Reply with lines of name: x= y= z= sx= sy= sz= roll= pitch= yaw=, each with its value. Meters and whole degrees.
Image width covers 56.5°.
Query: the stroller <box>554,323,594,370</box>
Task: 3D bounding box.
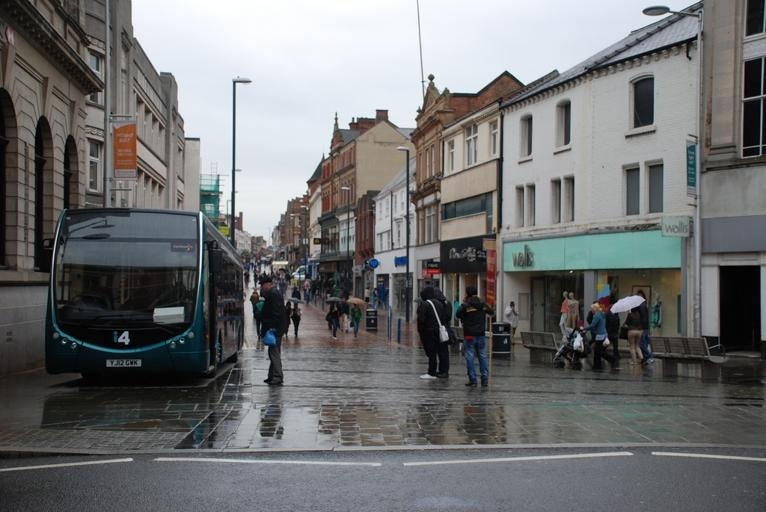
stroller: x=5.740 y=2.744 z=22.099 sx=1.034 sy=1.186 sz=0.937 roll=6 pitch=8 yaw=4

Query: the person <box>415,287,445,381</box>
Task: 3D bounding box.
person: x=1.225 y=1.974 z=18.293 sx=0.685 sy=2.354 sz=0.888 roll=1 pitch=-4 yaw=3

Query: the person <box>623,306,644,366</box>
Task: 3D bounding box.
person: x=7.804 y=2.472 z=22.041 sx=0.474 sy=1.735 sz=0.651 roll=0 pitch=-4 yaw=10

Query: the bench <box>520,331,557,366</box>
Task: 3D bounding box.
bench: x=5.253 y=3.087 z=23.823 sx=1.005 sy=1.015 sz=2.068 roll=1 pitch=-5 yaw=3

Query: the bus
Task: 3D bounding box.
bus: x=-5.688 y=0.967 z=17.378 sx=3.726 sy=4.015 sz=3.620 roll=2 pitch=-5 yaw=-3

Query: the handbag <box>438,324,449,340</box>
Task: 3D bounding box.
handbag: x=1.524 y=1.943 z=17.955 sx=0.177 sy=0.444 sz=0.397 roll=-7 pitch=-3 yaw=27

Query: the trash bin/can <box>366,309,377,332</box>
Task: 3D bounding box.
trash bin/can: x=-0.613 y=3.618 z=39.664 sx=0.594 sy=1.210 sz=0.492 roll=3 pitch=-5 yaw=-21

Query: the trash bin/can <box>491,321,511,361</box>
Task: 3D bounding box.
trash bin/can: x=4.156 y=2.986 z=24.991 sx=0.623 sy=1.227 sz=0.652 roll=1 pitch=-4 yaw=7

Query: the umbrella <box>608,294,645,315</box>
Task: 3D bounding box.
umbrella: x=7.453 y=1.447 z=21.492 sx=0.869 sy=0.472 sz=0.650 roll=1 pitch=-5 yaw=5
